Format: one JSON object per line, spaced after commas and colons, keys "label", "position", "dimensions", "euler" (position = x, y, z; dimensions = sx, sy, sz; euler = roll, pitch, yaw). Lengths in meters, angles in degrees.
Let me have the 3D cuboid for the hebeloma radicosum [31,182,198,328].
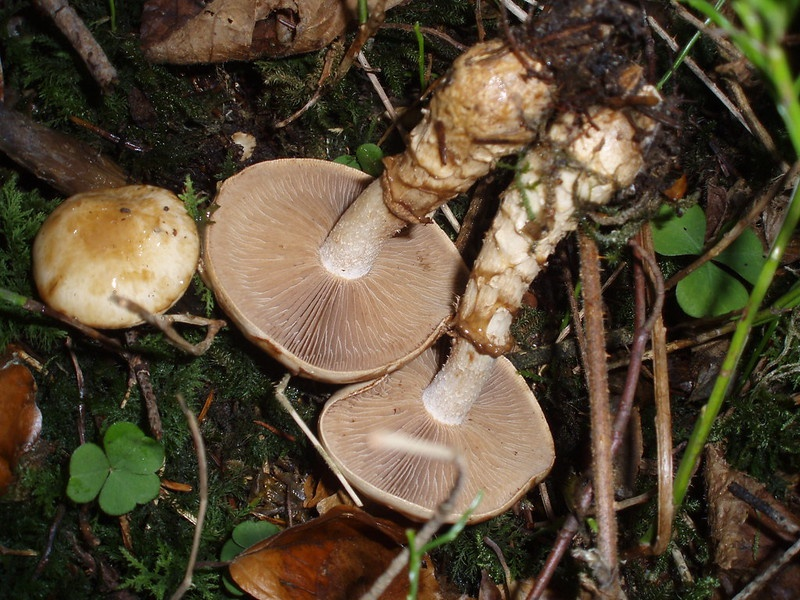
{"label": "hebeloma radicosum", "position": [-1.240, -0.199, 3.288], "dimensions": [0.717, 0.207, 0.633], "euler": [-17, 85, -4]}
